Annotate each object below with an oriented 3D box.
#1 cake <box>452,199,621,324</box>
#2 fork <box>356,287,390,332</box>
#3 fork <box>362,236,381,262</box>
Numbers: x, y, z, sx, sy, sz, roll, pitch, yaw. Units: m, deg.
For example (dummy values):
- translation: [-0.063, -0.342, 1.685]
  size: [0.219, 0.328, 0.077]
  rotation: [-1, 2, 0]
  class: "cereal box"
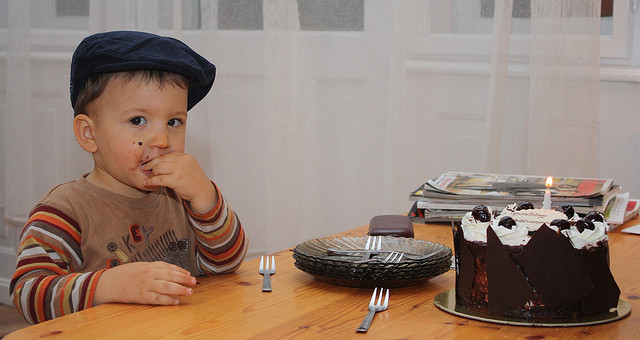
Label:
- translation: [0.555, 0.201, 1.369]
  size: [0.352, 0.199, 0.333]
  rotation: [-2, 1, 17]
  class: "cake"
- translation: [0.146, 0.370, 1.413]
  size: [0.040, 0.028, 0.184]
  rotation: [0, 39, 26]
  class: "fork"
- translation: [0.157, 0.232, 1.620]
  size: [0.027, 0.013, 0.112]
  rotation: [2, 30, 17]
  class: "fork"
